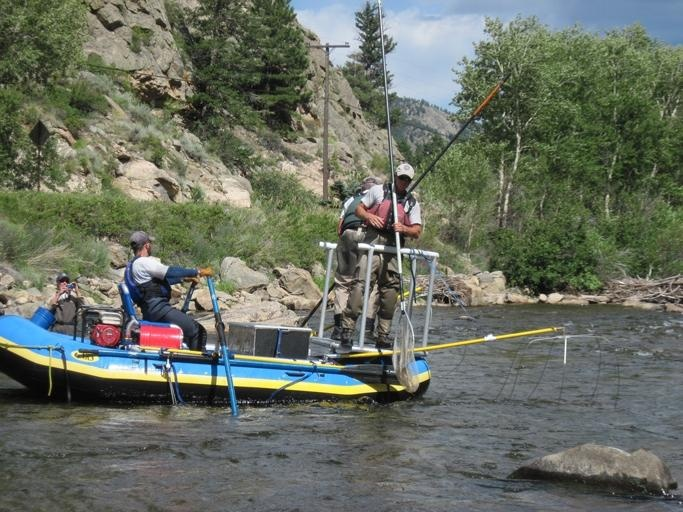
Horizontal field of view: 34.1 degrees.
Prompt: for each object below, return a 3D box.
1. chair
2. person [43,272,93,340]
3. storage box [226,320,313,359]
[{"bbox_3d":[-4.752,1.587,27.829,1.734,1.896,1.361,7,-15,-12],"label":"chair"},{"bbox_3d":[-6.879,1.245,28.308,0.980,1.682,1.047,6,5,41],"label":"person"},{"bbox_3d":[-1.946,2.197,28.792,1.617,0.899,2.020,7,-3,-18],"label":"storage box"}]
